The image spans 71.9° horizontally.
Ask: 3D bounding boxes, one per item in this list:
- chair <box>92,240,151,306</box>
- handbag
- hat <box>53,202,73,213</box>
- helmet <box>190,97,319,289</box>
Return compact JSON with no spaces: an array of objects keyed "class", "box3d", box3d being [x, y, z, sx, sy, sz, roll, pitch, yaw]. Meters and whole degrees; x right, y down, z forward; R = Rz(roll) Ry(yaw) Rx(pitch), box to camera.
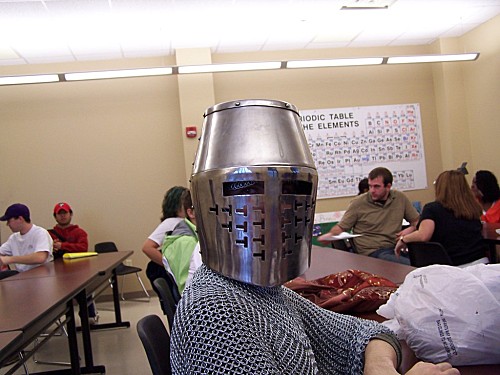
[{"class":"chair","box3d":[-1.701,1.131,4.566,0.551,0.787,0.603,0,-6,-45]},{"class":"handbag","box3d":[0.472,0.497,1.653,0.319,0.090,0.281,4,-1,-14]},{"class":"hat","box3d":[-2.400,0.247,4.444,0.171,0.110,0.228,-3,-11,-15]},{"class":"helmet","box3d":[0.008,-0.002,1.097,0.390,0.479,0.495,-1,3,-6]}]
